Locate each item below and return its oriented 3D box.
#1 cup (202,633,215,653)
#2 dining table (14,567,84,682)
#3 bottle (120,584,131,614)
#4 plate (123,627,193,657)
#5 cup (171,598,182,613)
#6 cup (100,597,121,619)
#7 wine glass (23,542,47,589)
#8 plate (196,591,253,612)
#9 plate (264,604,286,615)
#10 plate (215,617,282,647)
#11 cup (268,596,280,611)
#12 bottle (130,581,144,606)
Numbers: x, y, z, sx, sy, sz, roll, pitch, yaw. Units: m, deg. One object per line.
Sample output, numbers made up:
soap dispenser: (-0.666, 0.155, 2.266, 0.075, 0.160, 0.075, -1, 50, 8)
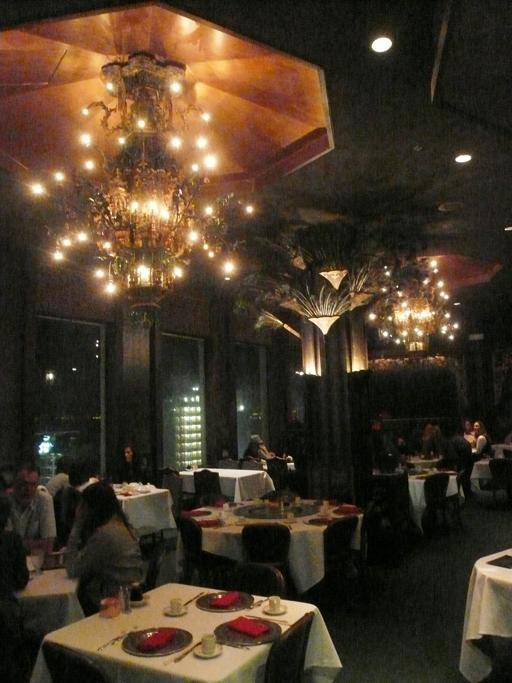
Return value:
cup: (-0.158, 1.044, 2.042, 0.037, 0.044, 0.060, -2, -11, -2)
dining table: (-0.939, 1.214, 2.773, 0.282, 0.196, 0.361, 6, -3, -16)
bottle: (-0.528, 1.059, 2.427, 0.048, 0.086, 0.040, 4, -3, 14)
plate: (-0.350, 1.081, 2.146, 0.252, 0.063, 0.213, 5, -3, -7)
cup: (-0.311, 1.068, 2.380, 0.043, 0.049, 0.046, -2, -3, 0)
cup: (-0.576, 1.073, 2.377, 0.069, 0.058, 0.072, -3, -7, 0)
wine glass: (-1.074, 1.104, 2.932, 0.109, 0.191, 0.124, 5, -18, -9)
plate: (-0.126, 1.098, 2.512, 0.241, 0.046, 0.207, 5, -3, -3)
plate: (0.081, 1.079, 2.393, 0.086, 0.025, 0.096, 5, -3, 2)
plate: (-0.028, 1.073, 2.172, 0.242, 0.057, 0.170, 5, -3, 0)
cup: (0.076, 1.048, 2.376, 0.051, 0.039, 0.053, -1, -9, 0)
bottle: (-0.511, 1.085, 2.550, 0.069, 0.074, 0.071, -8, -11, 41)
